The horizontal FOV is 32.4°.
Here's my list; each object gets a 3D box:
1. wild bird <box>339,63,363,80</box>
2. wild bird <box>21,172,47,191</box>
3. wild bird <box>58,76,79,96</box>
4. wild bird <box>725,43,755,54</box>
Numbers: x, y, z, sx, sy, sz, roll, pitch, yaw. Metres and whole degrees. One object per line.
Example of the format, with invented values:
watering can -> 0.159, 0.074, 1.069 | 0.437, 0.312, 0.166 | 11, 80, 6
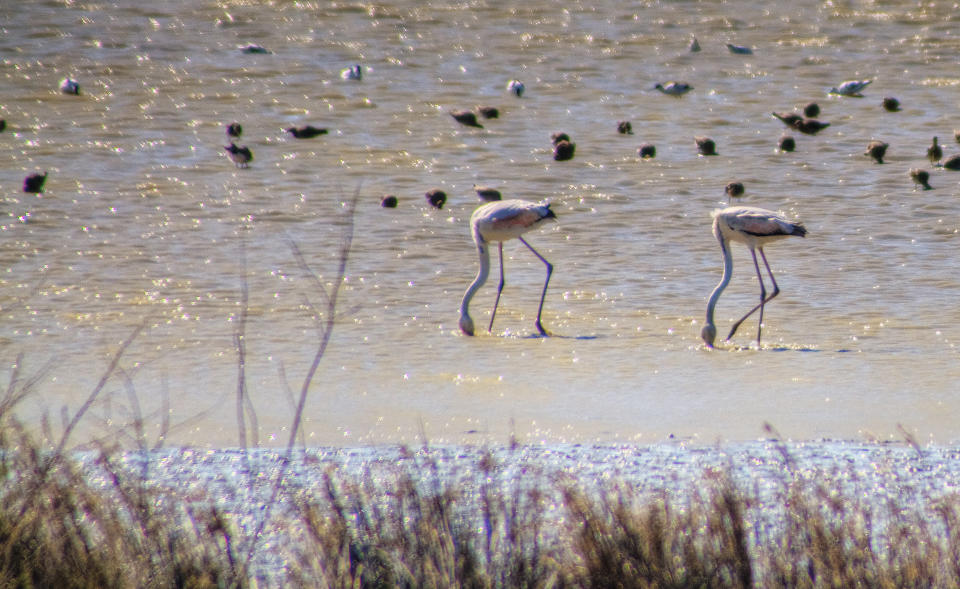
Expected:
wild bird -> -3.165, -5.502, 40.972 | 0.442, 0.169, 0.506 | -17, 10, -21
wild bird -> -9.258, -2.405, 34.475 | 0.495, 0.473, 1.066 | 0, -8, -15
wild bird -> -9.730, -4.932, 39.195 | 0.347, 0.220, 0.646 | -3, -19, 38
wild bird -> 6.905, -6.488, 43.996 | 0.907, 0.361, 0.274 | -6, -42, -55
